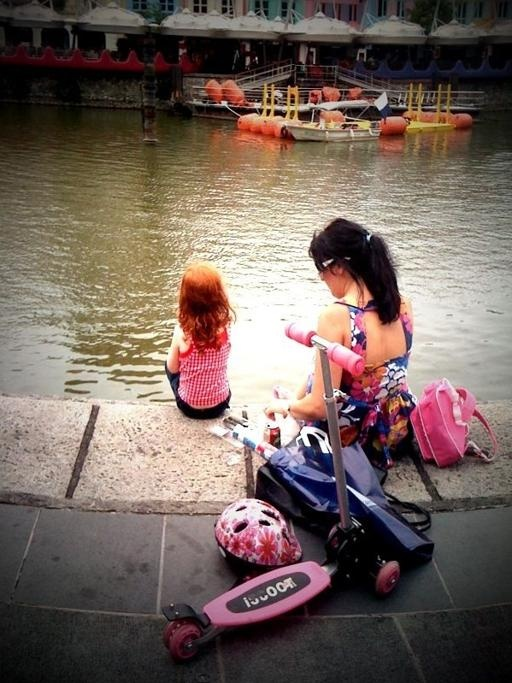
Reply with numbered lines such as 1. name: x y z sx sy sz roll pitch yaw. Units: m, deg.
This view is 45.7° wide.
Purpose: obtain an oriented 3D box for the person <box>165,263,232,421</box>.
1. person: -0.329 0.021 3.494 0.386 0.891 0.409 -1 27 -8

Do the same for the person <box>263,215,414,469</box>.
1. person: 0.466 0.011 3.038 0.834 1.103 0.755 -19 26 -35

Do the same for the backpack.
1. backpack: 0.942 0.380 3.196 0.497 0.447 0.404 10 30 29

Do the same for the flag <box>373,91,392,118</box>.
1. flag: 5.729 -10.687 27.589 0.632 1.122 3.207 8 25 9

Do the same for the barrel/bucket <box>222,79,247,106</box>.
1. barrel/bucket: -1.319 -14.312 35.043 1.172 0.728 2.090 -14 52 -16

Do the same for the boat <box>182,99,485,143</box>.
1. boat: 3.186 -12.585 33.650 12.453 1.363 13.463 -15 30 -34

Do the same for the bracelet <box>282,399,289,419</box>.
1. bracelet: 0.142 0.320 2.955 0.053 0.023 0.064 4 67 -3

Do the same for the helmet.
1. helmet: 0.006 0.724 2.325 0.310 0.145 0.209 10 28 9

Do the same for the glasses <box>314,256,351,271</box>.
1. glasses: 0.346 -0.343 2.698 0.132 0.077 0.026 13 29 20
